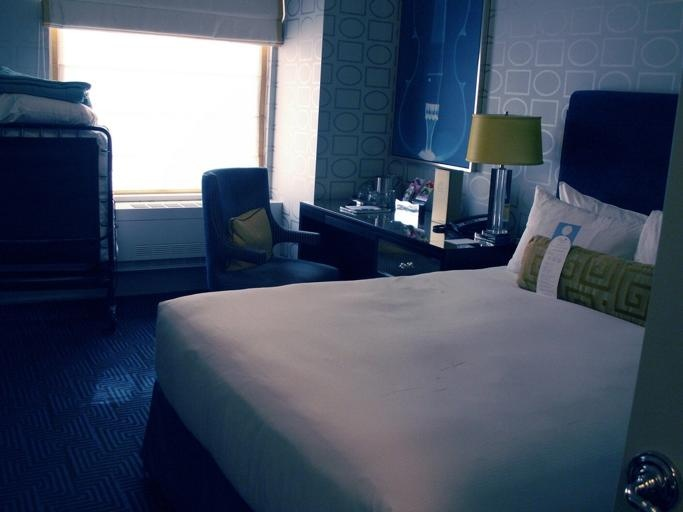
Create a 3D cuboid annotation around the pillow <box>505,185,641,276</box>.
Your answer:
[{"bbox_3d":[1.162,-0.144,2.551,0.144,0.401,0.494,25,-7,-33],"label":"pillow"}]

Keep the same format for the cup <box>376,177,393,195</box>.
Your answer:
[{"bbox_3d":[0.341,-0.568,4.355,0.129,0.112,0.106,-2,11,-14],"label":"cup"}]

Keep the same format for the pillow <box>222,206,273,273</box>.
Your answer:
[{"bbox_3d":[-0.641,-0.094,3.525,0.137,0.299,0.380,-4,6,25],"label":"pillow"}]

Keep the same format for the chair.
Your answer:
[{"bbox_3d":[-0.469,-0.006,3.602,0.840,1.127,0.962,-5,11,-23],"label":"chair"}]

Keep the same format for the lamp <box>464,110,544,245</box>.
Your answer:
[{"bbox_3d":[0.992,-0.465,3.330,0.433,0.776,0.442,-8,15,-42],"label":"lamp"}]
